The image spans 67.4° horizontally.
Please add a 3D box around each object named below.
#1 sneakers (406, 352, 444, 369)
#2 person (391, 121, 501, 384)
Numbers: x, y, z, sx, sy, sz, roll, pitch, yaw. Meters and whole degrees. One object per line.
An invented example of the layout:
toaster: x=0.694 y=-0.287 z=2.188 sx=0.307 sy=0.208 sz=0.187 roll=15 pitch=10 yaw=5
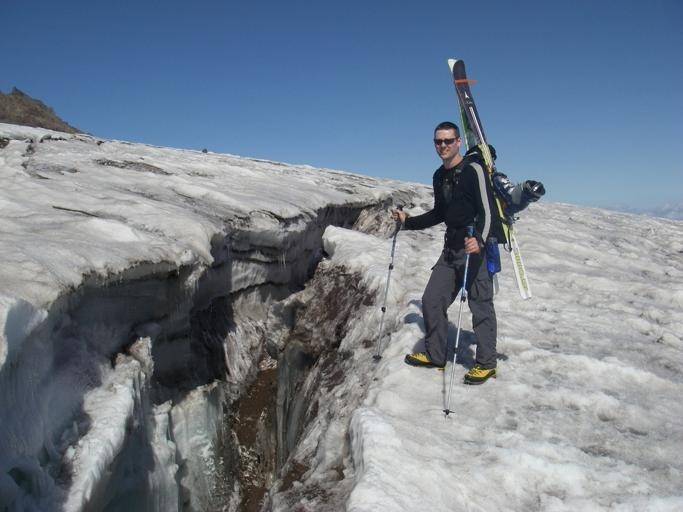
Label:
sneakers: x=0.969 y=1.251 z=6.086 sx=0.465 sy=0.225 sz=0.170 roll=14 pitch=-8 yaw=9
person: x=1.246 y=0.013 z=5.749 sx=0.899 sy=2.829 sz=1.289 roll=-3 pitch=-10 yaw=-6
